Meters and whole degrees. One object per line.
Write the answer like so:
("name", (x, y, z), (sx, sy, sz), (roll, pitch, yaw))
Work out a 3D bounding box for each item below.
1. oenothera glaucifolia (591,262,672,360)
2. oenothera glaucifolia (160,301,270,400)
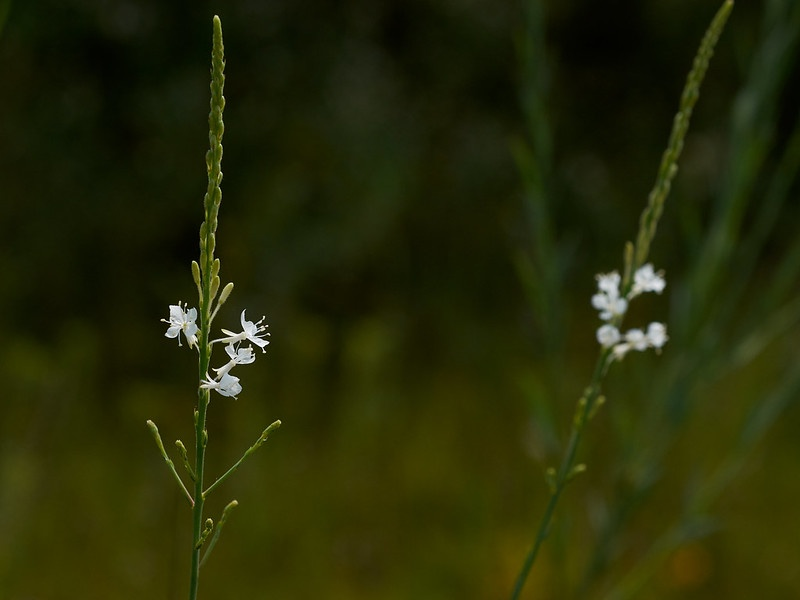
("oenothera glaucifolia", (0.315, 0.023, 1.393), (0.126, 0.134, 0.040), (6, -10, 2))
("oenothera glaucifolia", (-0.274, 0.064, 1.412), (0.158, 0.164, 0.086), (7, -28, -27))
